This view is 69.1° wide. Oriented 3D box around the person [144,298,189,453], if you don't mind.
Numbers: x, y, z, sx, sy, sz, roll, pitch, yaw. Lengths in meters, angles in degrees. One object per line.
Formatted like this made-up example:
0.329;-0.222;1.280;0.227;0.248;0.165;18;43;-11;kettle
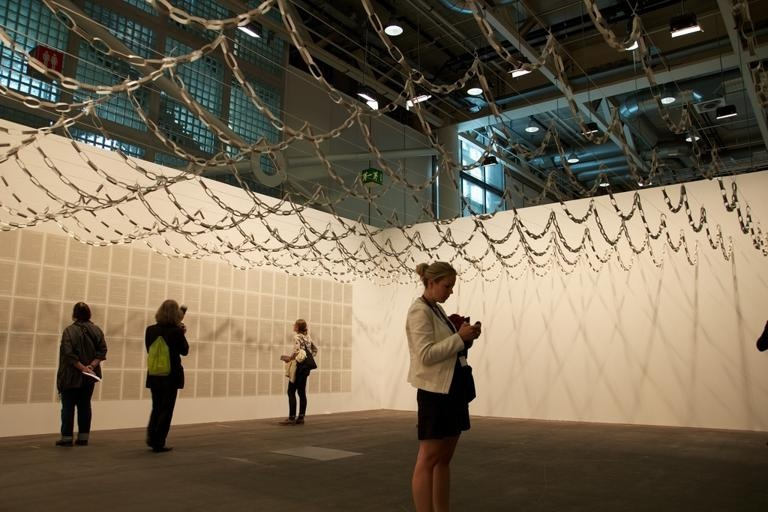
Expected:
-2.489;1.349;6.324;0.428;1.713;0.460;3;-8;-24;person

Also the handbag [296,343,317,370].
-1.186;1.663;8.753;0.364;0.609;0.263;-2;-48;-9;handbag

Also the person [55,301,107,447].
-3.569;1.375;6.547;0.489;1.676;0.532;4;-8;-26;person

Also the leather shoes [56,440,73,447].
-3.710;2.151;6.438;0.181;0.084;0.127;3;-8;-18;leather shoes

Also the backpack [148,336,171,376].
-2.503;1.114;6.191;0.253;0.445;0.102;-1;-7;10;backpack
